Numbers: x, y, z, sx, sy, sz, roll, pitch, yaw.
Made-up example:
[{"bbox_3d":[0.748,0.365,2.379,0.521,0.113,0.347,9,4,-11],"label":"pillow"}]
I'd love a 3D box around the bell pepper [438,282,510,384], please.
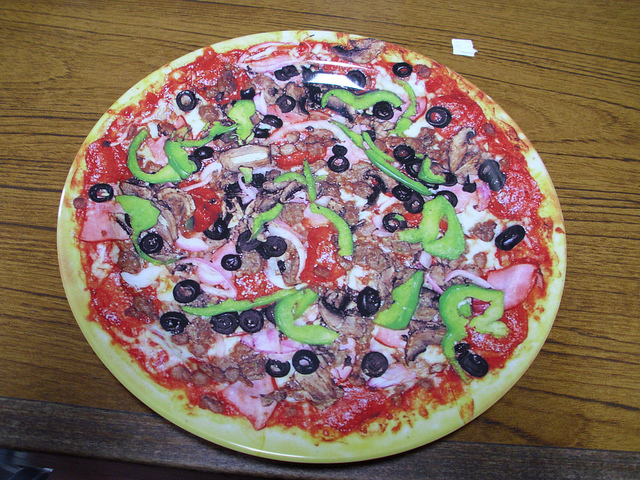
[{"bbox_3d":[0.264,0.156,1.196,0.113,0.100,0.165,-1,83,1],"label":"bell pepper"}]

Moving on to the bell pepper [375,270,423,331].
[{"bbox_3d":[0.147,0.105,1.234,0.054,0.018,0.115,24,83,3],"label":"bell pepper"}]

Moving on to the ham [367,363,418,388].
[{"bbox_3d":[0.122,0.235,1.186,0.064,0.018,0.042,-42,84,-5],"label":"ham"}]

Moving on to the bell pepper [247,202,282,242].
[{"bbox_3d":[-0.088,-0.035,1.267,0.037,0.021,0.087,46,67,-4],"label":"bell pepper"}]

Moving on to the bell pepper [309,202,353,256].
[{"bbox_3d":[0.036,-0.021,1.281,0.126,0.040,0.099,-4,82,-10],"label":"bell pepper"}]

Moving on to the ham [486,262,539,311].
[{"bbox_3d":[0.340,0.076,1.218,0.109,0.024,0.077,-38,71,-2],"label":"ham"}]

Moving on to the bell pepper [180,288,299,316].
[{"bbox_3d":[-0.148,0.111,1.232,0.257,0.024,0.024,-5,53,-2],"label":"bell pepper"}]
